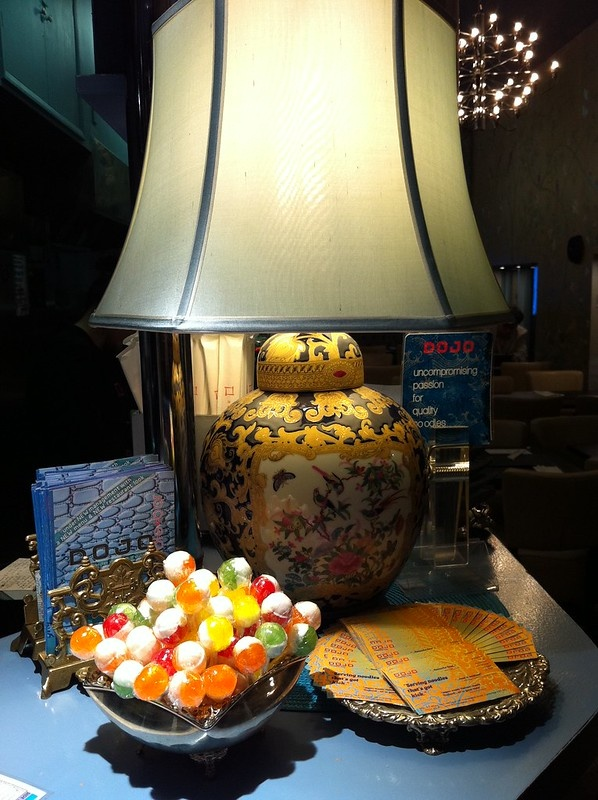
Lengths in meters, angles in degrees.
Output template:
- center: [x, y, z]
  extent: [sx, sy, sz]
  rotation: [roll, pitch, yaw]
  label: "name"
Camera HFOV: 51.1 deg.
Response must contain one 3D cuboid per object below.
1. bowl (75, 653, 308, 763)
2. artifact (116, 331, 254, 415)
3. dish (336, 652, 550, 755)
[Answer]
- center: [-0.087, 0.219, 0.503]
  extent: [0.115, 0.043, 0.098]
  rotation: [1, -5, 20]
  label: "bowl"
- center: [-0.179, -0.065, 1.037]
  extent: [0.124, 0.182, 0.183]
  rotation: [8, 15, 37]
  label: "artifact"
- center: [0.145, 0.267, 0.547]
  extent: [0.094, 0.022, 0.096]
  rotation: [-4, 8, 16]
  label: "dish"
